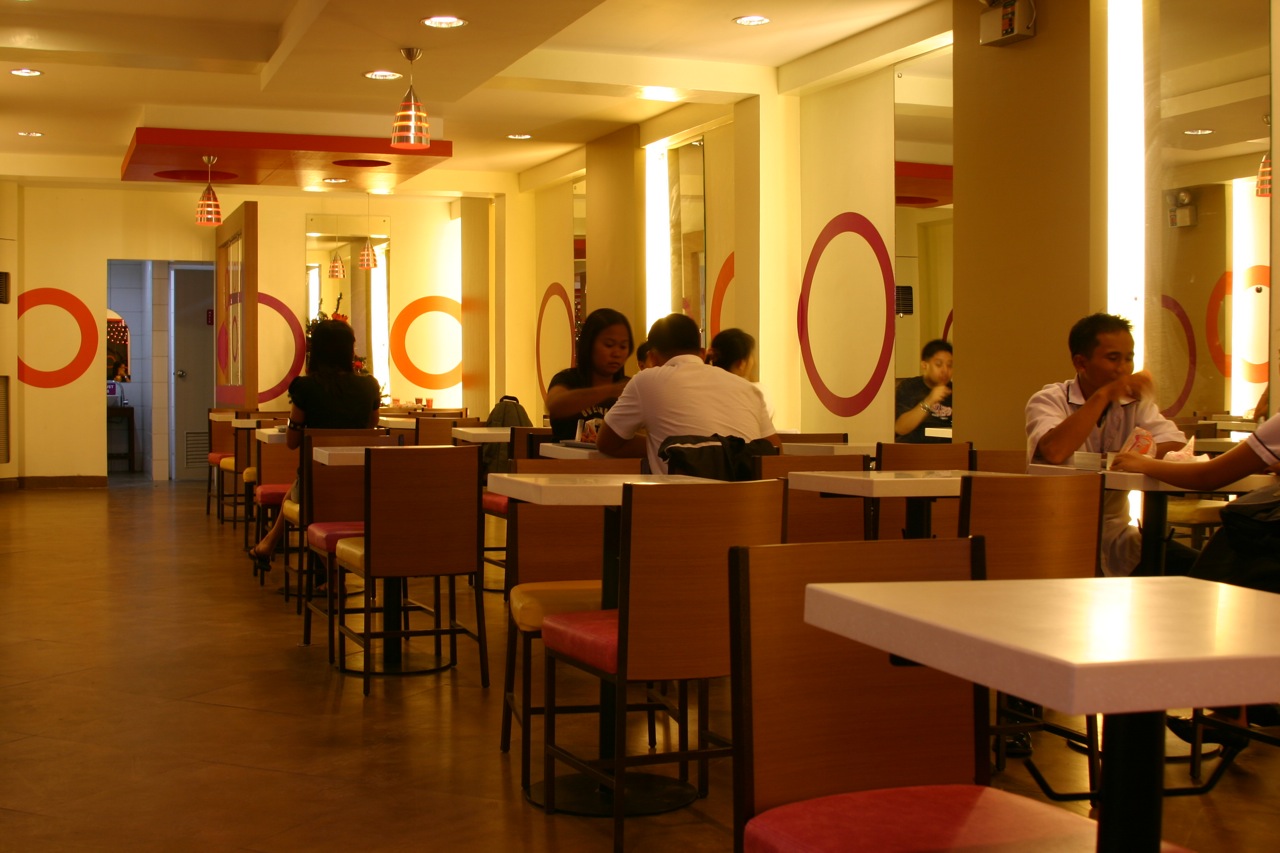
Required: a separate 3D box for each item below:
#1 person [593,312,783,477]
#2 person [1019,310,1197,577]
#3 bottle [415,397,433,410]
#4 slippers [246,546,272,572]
[{"bbox_3d":[0.237,0.120,5.041,0.771,1.208,0.566,-3,8,-9],"label":"person"},{"bbox_3d":[2.237,0.300,5.421,0.696,1.679,0.850,0,9,-2],"label":"person"},{"bbox_3d":[-2.877,-0.308,14.689,0.221,0.163,0.229,1,-2,0],"label":"bottle"},{"bbox_3d":[-2.724,0.936,7.928,0.132,0.101,0.362,1,12,-19],"label":"slippers"}]
